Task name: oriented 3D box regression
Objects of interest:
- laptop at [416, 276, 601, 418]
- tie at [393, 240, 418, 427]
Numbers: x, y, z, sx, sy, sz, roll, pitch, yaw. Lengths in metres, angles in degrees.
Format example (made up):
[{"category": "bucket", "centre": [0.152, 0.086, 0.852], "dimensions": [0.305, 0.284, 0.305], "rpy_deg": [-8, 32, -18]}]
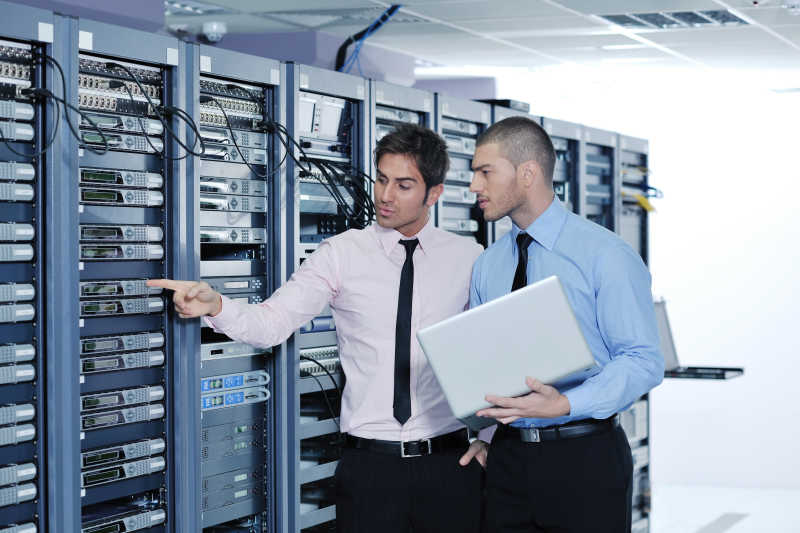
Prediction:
[{"category": "laptop", "centre": [0.412, 0.262, 2.936], "dimensions": [0.688, 0.444, 0.476], "rpy_deg": [-25, -3, 12]}, {"category": "tie", "centre": [0.021, 0.257, 3.186], "dimensions": [0.108, 0.722, 0.285], "rpy_deg": [-3, 5, 9]}]
